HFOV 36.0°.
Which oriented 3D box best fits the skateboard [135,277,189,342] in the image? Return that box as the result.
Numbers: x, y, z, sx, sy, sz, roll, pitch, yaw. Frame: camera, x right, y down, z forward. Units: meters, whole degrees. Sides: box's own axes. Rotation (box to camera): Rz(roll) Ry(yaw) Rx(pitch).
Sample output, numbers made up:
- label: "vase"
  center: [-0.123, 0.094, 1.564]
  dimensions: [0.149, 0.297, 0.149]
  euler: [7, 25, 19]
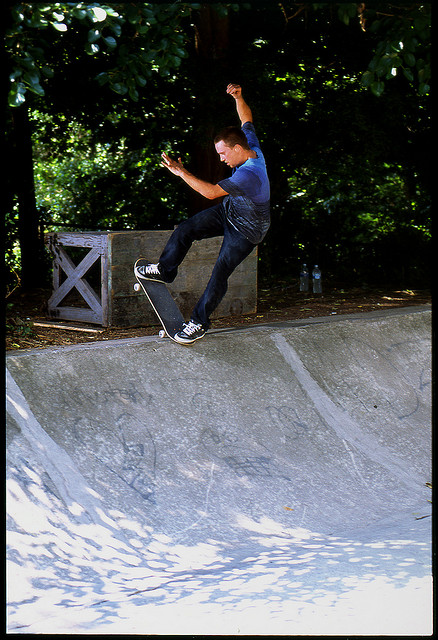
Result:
- label: "skateboard"
  center: [-0.474, -0.155, 5.129]
  dimensions: [0.210, 0.727, 0.108]
  euler: [-19, -22, -40]

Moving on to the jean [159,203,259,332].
- label: "jean"
  center: [-0.093, -0.375, 4.851]
  dimensions: [0.705, 0.900, 0.296]
  euler: [1, 7, 7]
